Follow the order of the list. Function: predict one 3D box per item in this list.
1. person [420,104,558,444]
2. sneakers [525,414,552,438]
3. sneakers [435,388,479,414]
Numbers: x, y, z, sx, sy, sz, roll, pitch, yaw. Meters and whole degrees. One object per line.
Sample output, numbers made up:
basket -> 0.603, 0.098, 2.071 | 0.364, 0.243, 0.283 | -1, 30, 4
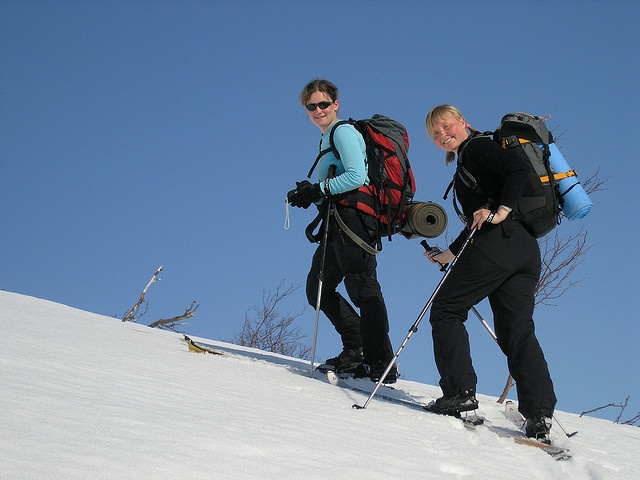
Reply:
person -> 1.330, 0.238, 5.303 | 0.938, 2.461, 1.421 | -6, -39, 19
sneakers -> 1.679, 1.452, 5.008 | 0.142, 0.182, 0.192 | 3, -5, 1
sneakers -> 1.104, 1.335, 5.329 | 0.417, 0.205, 0.162 | -3, -6, 24
